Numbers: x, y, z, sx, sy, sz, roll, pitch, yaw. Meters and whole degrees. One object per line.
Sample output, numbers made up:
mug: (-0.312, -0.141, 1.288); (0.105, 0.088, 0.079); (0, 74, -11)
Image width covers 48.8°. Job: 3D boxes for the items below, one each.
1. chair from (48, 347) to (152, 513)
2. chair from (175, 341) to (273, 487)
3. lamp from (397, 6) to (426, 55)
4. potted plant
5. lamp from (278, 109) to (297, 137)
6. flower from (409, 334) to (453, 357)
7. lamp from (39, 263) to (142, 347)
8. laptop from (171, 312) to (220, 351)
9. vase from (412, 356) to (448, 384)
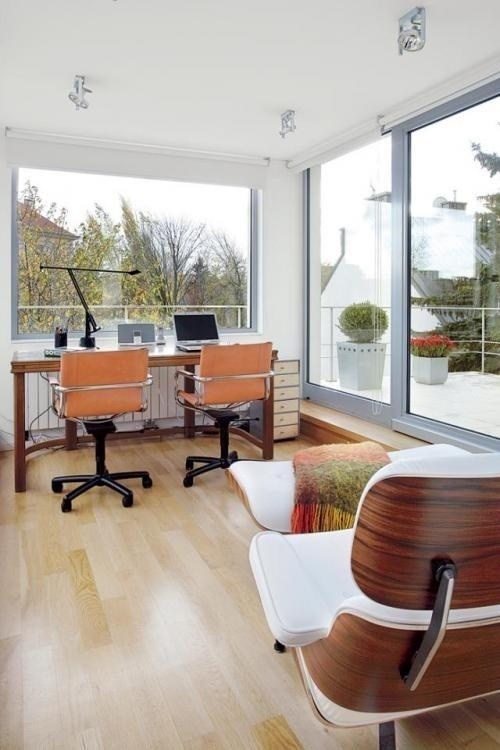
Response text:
chair: (-0.824, 0.272, 3.093); (0.570, 0.851, 0.602); (-3, 7, -21)
chair: (-0.187, 0.236, 3.517); (0.556, 0.886, 0.578); (-2, 5, -20)
lamp: (0.661, -1.407, 2.258); (0.106, 0.226, 0.181); (2, 7, 16)
potted plant: (0.892, -0.237, 4.324); (0.374, 0.711, 0.515); (0, -5, -5)
lamp: (0.245, -1.692, 3.678); (0.061, 0.192, 0.130); (-9, 14, -39)
flower: (1.134, -0.196, 3.497); (0.143, 0.108, 0.131); (-6, 9, -22)
lamp: (-1.064, -0.426, 3.756); (0.616, 0.568, 0.125); (-1, -1, -9)
laptop: (-0.384, -0.330, 4.126); (0.334, 0.260, 0.293); (-1, 7, -27)
vase: (1.144, -0.031, 3.514); (0.137, 0.188, 0.259); (-2, 5, -14)
